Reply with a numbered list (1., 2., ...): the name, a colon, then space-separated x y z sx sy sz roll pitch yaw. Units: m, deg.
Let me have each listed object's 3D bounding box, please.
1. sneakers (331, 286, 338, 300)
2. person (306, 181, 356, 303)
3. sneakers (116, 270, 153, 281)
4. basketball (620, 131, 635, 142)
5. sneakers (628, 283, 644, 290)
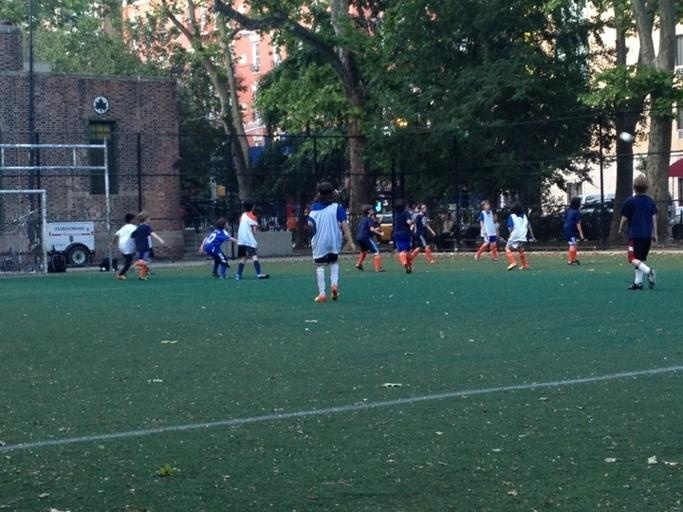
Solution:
1. sneakers: -0.127 0.734 22.272 0.090 0.293 0.124 -3 13 3
2. person: -0.261 -0.285 22.502 0.779 2.492 1.523 0 10 -1
3. sneakers: -5.518 0.525 30.325 0.505 0.232 0.164 -10 0 19
4. basketball: 10.687 -4.407 42.241 0.430 0.354 0.456 6 -7 -9
5. sneakers: 5.974 0.622 22.959 0.273 0.128 0.115 3 4 23
